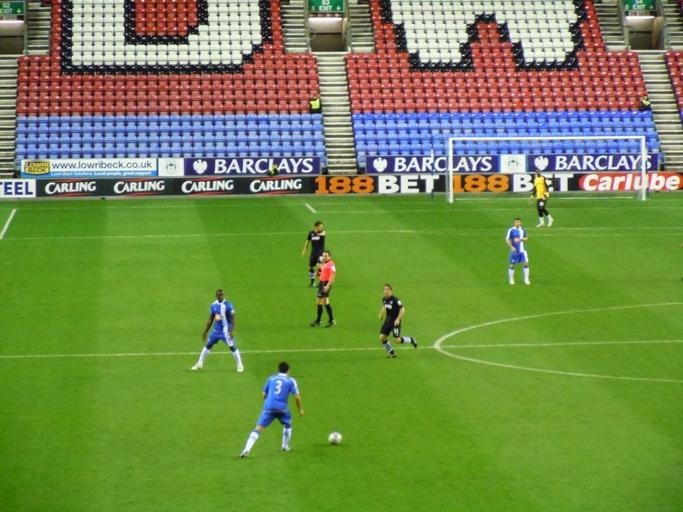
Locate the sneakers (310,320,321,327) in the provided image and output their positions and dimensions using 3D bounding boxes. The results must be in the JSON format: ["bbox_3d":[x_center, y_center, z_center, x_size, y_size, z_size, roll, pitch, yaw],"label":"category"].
[{"bbox_3d":[-0.803,2.208,31.513,0.362,0.159,0.131,1,6,30],"label":"sneakers"}]

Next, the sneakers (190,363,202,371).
[{"bbox_3d":[-4.072,3.133,27.548,0.363,0.159,0.142,3,8,23],"label":"sneakers"}]

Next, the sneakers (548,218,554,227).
[{"bbox_3d":[9.438,-1.497,44.372,0.176,0.244,0.544,-9,25,32],"label":"sneakers"}]

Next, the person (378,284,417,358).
[{"bbox_3d":[1.735,2.106,30.161,1.214,2.407,1.114,-23,32,-30],"label":"person"}]

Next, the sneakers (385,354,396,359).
[{"bbox_3d":[1.448,2.932,28.602,0.298,0.189,0.102,2,7,10],"label":"sneakers"}]

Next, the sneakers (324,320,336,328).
[{"bbox_3d":[-0.336,2.215,31.607,0.407,0.180,0.147,-4,8,27],"label":"sneakers"}]

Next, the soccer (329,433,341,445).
[{"bbox_3d":[-0.160,4.259,22.835,0.304,0.238,0.251,-1,-4,26],"label":"soccer"}]
